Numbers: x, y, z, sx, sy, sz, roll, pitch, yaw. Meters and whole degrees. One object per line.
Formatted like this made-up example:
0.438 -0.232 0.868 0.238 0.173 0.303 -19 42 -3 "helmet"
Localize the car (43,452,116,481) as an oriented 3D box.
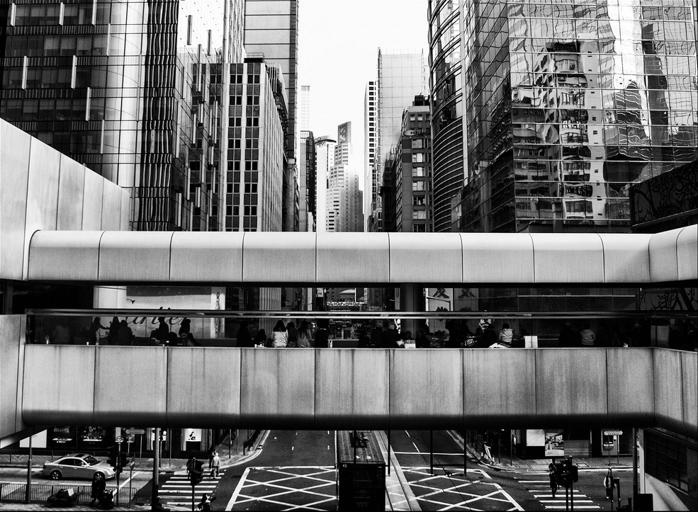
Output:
-20.512 16.170 85.096 5.784 2.016 3.120 -3 -12 19 "car"
